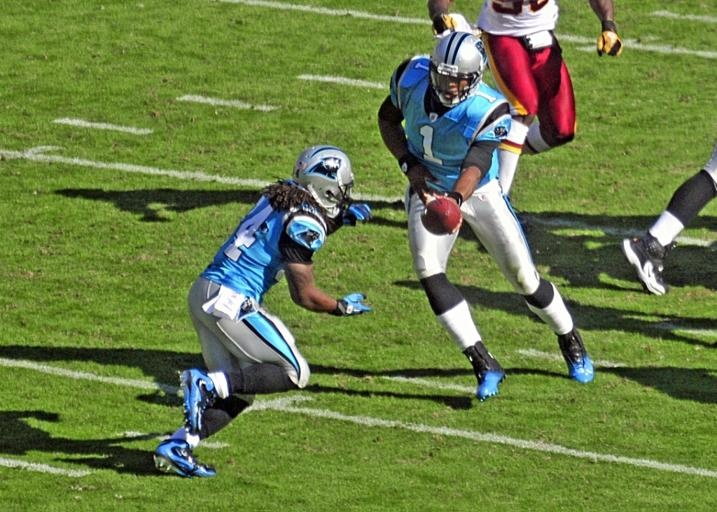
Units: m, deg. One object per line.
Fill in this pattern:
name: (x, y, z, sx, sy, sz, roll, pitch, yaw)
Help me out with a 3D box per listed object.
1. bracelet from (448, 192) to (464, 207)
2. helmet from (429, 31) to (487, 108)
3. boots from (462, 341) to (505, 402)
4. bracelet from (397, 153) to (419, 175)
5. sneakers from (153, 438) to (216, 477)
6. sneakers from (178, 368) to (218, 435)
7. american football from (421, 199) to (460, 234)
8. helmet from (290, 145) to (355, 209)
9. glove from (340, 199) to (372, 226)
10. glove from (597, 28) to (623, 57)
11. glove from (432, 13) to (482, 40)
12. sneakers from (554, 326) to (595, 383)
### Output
bracelet: (0.733, -0.447, 9.677, 0.066, 0.113, 0.085, -17, 26, 36)
helmet: (0.763, -1.510, 10.093, 0.438, 0.474, 0.600, 11, 32, 13)
boots: (1.005, 0.877, 10.317, 0.268, 0.273, 0.506, -30, 46, 7)
bracelet: (0.386, -0.747, 10.348, 0.122, 0.165, 0.164, 37, -7, 2)
sneakers: (-1.310, 1.548, 9.783, 0.577, 0.250, 0.193, 24, -24, -27)
sneakers: (-1.220, 1.056, 9.668, 0.286, 0.554, 0.201, -6, 3, -16)
american football: (0.618, -0.305, 9.604, 0.269, 0.244, 0.194, -8, 4, 35)
helmet: (-0.277, -0.593, 9.975, 0.504, 0.477, 0.399, -5, 24, -19)
glove: (-0.029, -0.338, 10.317, 0.221, 0.103, 0.218, -7, 23, -26)
glove: (2.160, -1.839, 11.087, 0.194, 0.248, 0.299, 7, 26, 8)
glove: (0.826, -1.945, 10.795, 0.455, 0.205, 0.275, 3, 10, -28)
sneakers: (1.792, 0.822, 10.571, 0.198, 0.541, 0.233, -25, -2, 20)
